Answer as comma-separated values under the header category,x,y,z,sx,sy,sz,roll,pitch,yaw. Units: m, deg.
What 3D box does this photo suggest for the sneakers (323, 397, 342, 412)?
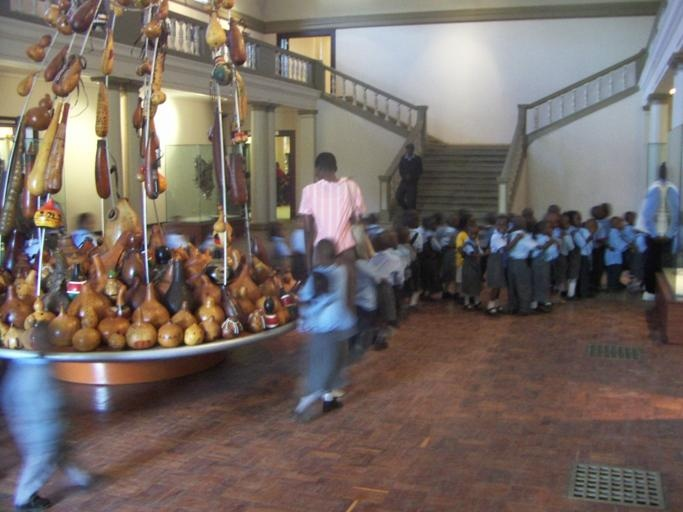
category,x,y,z,sx,sy,sz,roll,pitch,yaw
sneakers,-0.079,1.200,3.951,0.088,0.056,0.130,-3,4,16

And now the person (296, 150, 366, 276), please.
category,x,y,z,sx,sy,sz,roll,pitch,yaw
person,-0.041,-0.239,4.660,0.608,1.567,0.482,-2,26,8

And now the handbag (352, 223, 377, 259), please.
category,x,y,z,sx,sy,sz,roll,pitch,yaw
handbag,0.216,-0.127,5.049,0.068,0.309,0.302,-11,-8,14
